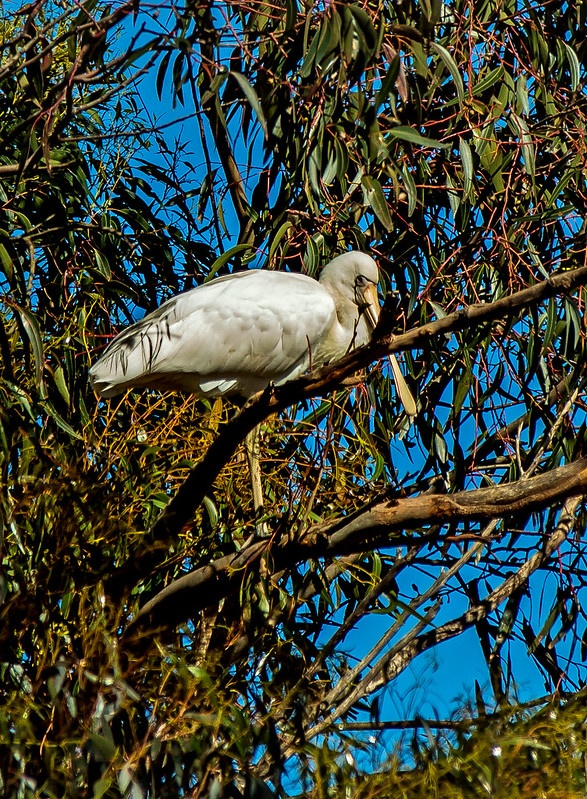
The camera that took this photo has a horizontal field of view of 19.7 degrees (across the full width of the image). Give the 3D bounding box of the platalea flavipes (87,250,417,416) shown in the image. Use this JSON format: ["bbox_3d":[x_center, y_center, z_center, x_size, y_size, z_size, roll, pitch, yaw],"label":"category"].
[{"bbox_3d":[-0.137,-0.187,4.768,0.940,0.661,0.400,5,-5,-14],"label":"platalea flavipes"}]
